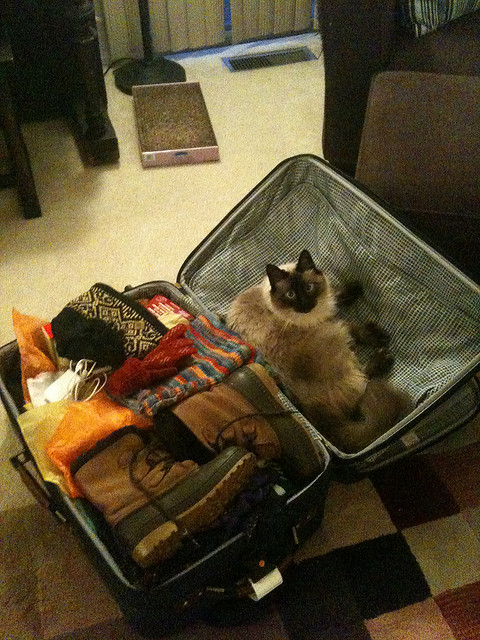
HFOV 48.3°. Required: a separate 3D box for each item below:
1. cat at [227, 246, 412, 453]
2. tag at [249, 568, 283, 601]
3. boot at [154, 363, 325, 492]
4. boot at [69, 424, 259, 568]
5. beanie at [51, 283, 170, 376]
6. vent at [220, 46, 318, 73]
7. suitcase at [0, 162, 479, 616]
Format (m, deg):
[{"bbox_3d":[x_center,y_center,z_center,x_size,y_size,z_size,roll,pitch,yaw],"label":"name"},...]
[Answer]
[{"bbox_3d":[0.170,0.085,1.379,0.463,0.230,0.541,-12,60,-7],"label":"cat"},{"bbox_3d":[0.051,0.492,1.007,0.068,0.041,0.015,-32,8,-20],"label":"tag"},{"bbox_3d":[-0.017,0.228,1.111,0.227,0.114,0.197,-27,39,-25],"label":"boot"},{"bbox_3d":[-0.148,0.309,1.062,0.282,0.161,0.265,-27,41,-32],"label":"boot"},{"bbox_3d":[-0.318,0.013,1.351,0.233,0.085,0.219,-39,74,-18],"label":"beanie"},{"bbox_3d":[0.157,-1.404,2.873,0.496,0.083,0.155,-8,34,-9],"label":"vent"},{"bbox_3d":[0.118,0.240,1.591,1.254,0.472,1.013,-30,66,-27],"label":"suitcase"}]
